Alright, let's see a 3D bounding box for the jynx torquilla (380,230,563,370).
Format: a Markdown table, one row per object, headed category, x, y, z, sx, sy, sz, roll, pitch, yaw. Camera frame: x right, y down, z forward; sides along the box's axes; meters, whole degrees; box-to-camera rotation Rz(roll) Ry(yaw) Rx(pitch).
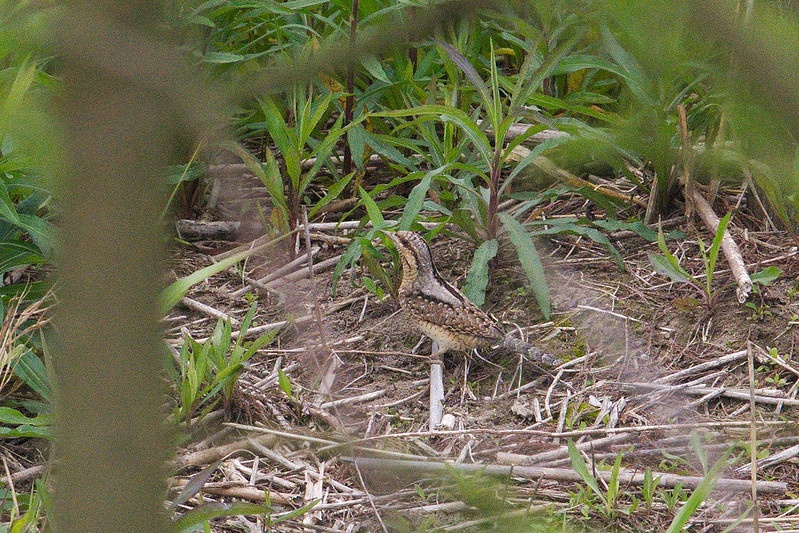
| category | x | y | z | sx | sy | sz | roll | pitch | yaw |
| --- | --- | --- | --- | --- | --- | --- | --- | --- | --- |
| jynx torquilla | 0.348 | 0.184 | 3.962 | 1.024 | 0.570 | 0.318 | 11 | 11 | 29 |
